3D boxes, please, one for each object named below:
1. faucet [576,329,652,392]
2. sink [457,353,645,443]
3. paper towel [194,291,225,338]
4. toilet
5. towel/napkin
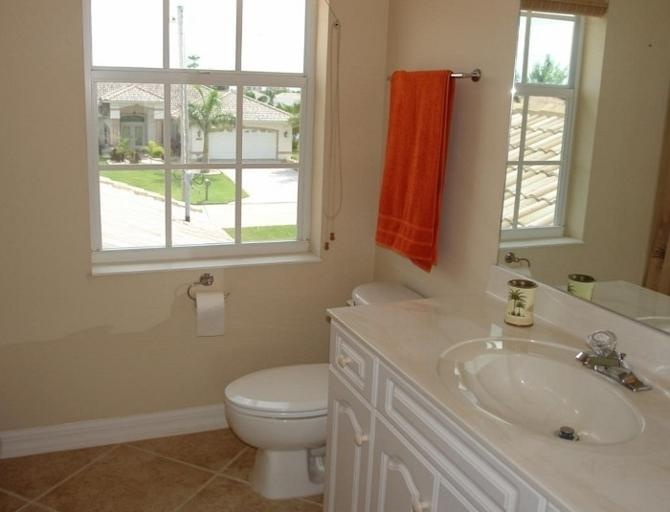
[{"bbox_3d":[0.765,0.287,1.579,0.075,0.100,0.226,-14,26,-15],"label":"faucet"},{"bbox_3d":[0.566,0.380,1.517,0.477,0.097,0.309,9,18,27],"label":"sink"},{"bbox_3d":[-0.604,0.283,2.689,0.137,0.210,0.053,-4,7,-11],"label":"paper towel"},{"bbox_3d":[-0.042,0.630,2.780,1.000,0.988,0.604,-3,14,-19],"label":"toilet"},{"bbox_3d":[0.324,-0.371,2.384,0.145,0.807,0.408,-8,18,-29],"label":"towel/napkin"}]
